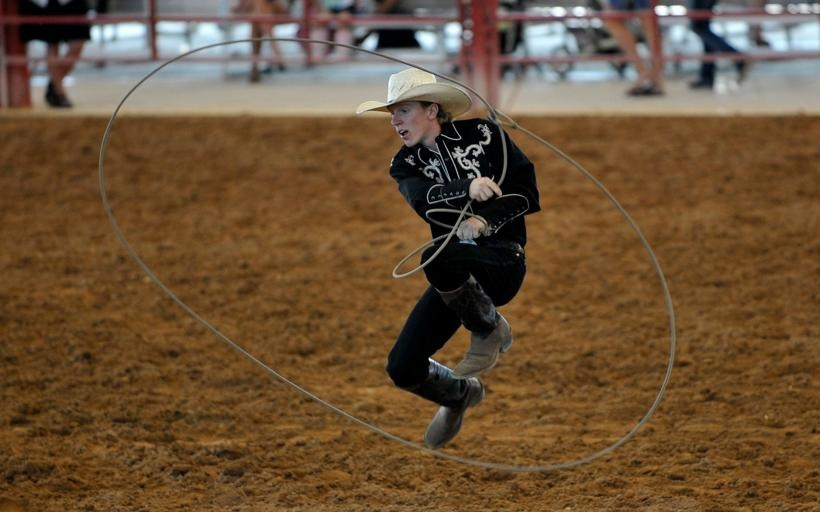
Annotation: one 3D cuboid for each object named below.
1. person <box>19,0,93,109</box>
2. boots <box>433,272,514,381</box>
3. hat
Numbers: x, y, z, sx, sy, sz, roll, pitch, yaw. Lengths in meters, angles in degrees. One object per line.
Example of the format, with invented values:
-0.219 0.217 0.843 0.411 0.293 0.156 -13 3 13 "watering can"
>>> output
-4.495 -2.616 18.010 0.975 1.347 0.740 8 15 34 "person"
0.537 0.575 12.573 0.357 0.887 0.707 7 43 42 "boots"
0.143 -1.512 12.506 0.749 0.256 0.543 -2 -12 -24 "hat"
